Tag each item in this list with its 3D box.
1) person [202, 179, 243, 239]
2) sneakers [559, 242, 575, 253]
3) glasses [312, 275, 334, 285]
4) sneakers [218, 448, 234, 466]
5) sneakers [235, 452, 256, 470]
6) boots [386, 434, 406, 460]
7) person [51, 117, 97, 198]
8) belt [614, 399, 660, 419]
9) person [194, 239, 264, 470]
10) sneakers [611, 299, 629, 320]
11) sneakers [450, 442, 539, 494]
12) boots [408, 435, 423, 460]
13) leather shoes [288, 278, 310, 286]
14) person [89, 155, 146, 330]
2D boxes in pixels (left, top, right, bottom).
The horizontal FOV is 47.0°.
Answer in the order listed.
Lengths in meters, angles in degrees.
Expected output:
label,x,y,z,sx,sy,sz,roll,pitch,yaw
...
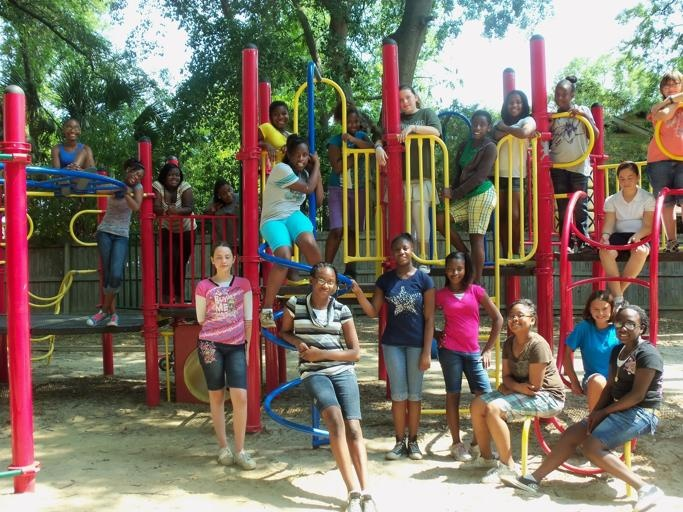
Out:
label,x,y,z,sx,sy,sz,roll,pitch,yaw
person,-1.501,-0.448,10.297,0.466,0.984,0.594,-6,-13,-12
sneakers,2.518,-0.096,8.853,0.091,0.188,0.274,6,14,29
glasses,-0.171,0.233,7.201,0.177,0.063,0.048,-1,9,-2
sneakers,-1.128,1.921,7.564,0.190,0.156,0.113,1,9,13
sneakers,-0.917,1.943,7.485,0.117,0.100,0.227,-4,4,-40
boots,0.536,1.884,7.699,0.107,0.183,0.304,-4,-6,41
person,-3.312,-1.223,9.686,0.514,0.921,0.949,-6,8,-20
belt,2.622,1.362,6.954,0.264,0.108,0.196,-1,-6,3
person,-1.110,0.956,7.569,0.531,2.085,0.684,-3,9,-10
sneakers,2.728,0.518,7.838,0.115,0.230,0.315,4,4,-1
sneakers,1.412,1.974,7.163,0.673,0.267,0.227,-2,-5,32
boots,0.696,1.864,7.613,0.130,0.197,0.123,-2,9,-3
leather shoes,-0.471,0.296,8.646,0.254,0.071,0.095,-9,-10,30
person,-2.756,-0.148,9.585,0.760,2.023,0.528,-3,9,-13
